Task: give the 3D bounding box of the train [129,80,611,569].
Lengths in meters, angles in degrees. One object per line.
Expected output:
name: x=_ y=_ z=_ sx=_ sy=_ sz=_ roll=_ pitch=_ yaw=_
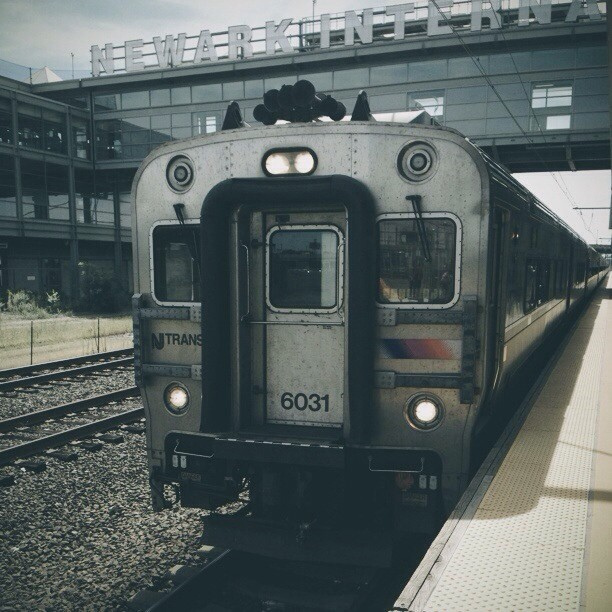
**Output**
train: x=1.164 y=-0.180 z=10.194 sx=1.743 sy=3.135 sz=7.759 roll=1 pitch=6 yaw=16
